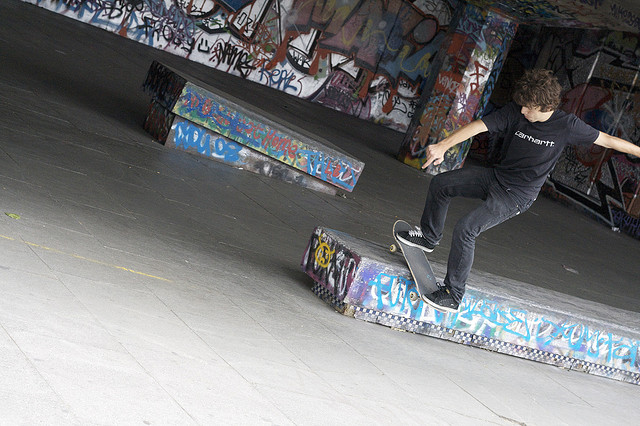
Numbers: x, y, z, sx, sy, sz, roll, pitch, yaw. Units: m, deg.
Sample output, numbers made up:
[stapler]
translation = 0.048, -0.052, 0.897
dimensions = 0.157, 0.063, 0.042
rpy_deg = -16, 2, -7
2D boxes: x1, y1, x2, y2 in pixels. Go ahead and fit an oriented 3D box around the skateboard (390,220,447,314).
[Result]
[skateboard]
translation = 0.935, 0.516, 5.992
dimensions = 0.342, 0.175, 1.224
rpy_deg = 2, 45, -28
